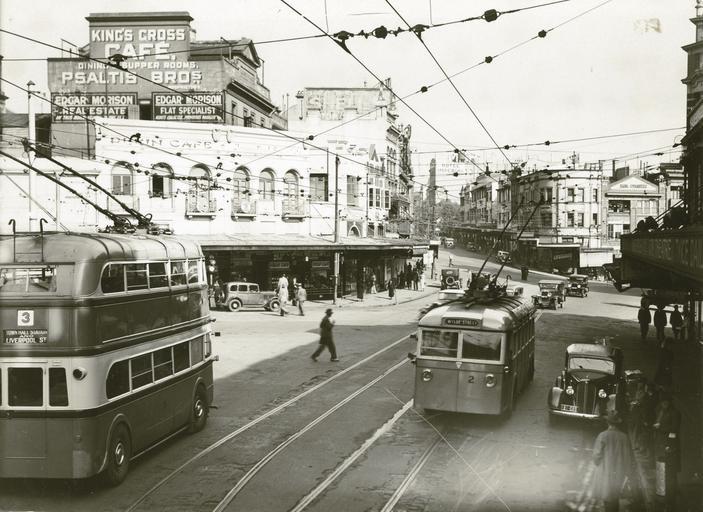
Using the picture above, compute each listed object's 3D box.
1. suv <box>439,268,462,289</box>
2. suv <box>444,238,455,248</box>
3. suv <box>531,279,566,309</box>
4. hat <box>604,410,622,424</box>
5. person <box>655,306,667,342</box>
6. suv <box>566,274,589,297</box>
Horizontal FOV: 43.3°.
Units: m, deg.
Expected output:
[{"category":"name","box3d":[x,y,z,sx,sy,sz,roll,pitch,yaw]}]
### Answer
[{"category":"suv","box3d":[7.861,1.781,70.099,1.080,1.247,1.920,0,4,8]},{"category":"suv","box3d":[16.545,-2.238,149.198,1.055,1.135,2.208,2,10,3]},{"category":"suv","box3d":[12.976,2.514,58.027,1.319,1.396,2.683,-2,-4,23]},{"category":"hat","box3d":[6.779,4.120,22.924,0.551,0.293,0.711,-1,-6,5]},{"category":"person","box3d":[14.368,3.224,41.159,0.414,1.598,2.161,3,8,18]},{"category":"suv","box3d":[17.348,2.255,67.481,1.037,1.126,2.076,3,6,24]}]
